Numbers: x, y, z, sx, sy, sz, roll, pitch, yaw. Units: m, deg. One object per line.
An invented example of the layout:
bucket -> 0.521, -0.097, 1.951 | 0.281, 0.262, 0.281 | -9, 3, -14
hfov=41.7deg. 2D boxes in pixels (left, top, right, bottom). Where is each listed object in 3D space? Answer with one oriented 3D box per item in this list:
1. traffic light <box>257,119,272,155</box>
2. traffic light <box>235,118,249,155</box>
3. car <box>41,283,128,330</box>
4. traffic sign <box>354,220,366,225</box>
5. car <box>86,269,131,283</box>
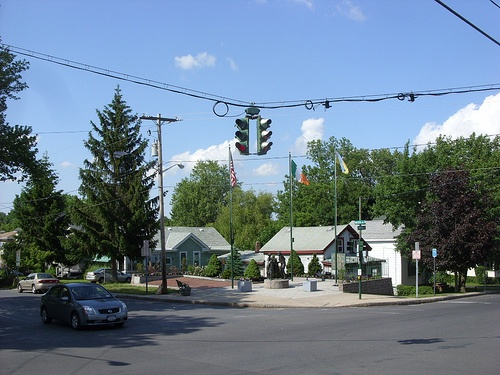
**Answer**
traffic light -> 0.713, -2.451, 30.303 | 0.616, 1.901, 1.348 | 0, -9, -10
traffic light -> -0.347, -2.432, 30.709 | 0.700, 1.796, 0.331 | 5, -11, -38
car -> -8.787, 6.230, 34.599 | 4.677, 2.410, 1.847 | -9, -12, 32
traffic sign -> 7.878, 2.533, 47.048 | 0.651, 0.187, 0.735 | -2, -2, 13
car -> -14.213, 9.334, 66.515 | 3.818, 1.406, 1.825 | 0, -2, -25
